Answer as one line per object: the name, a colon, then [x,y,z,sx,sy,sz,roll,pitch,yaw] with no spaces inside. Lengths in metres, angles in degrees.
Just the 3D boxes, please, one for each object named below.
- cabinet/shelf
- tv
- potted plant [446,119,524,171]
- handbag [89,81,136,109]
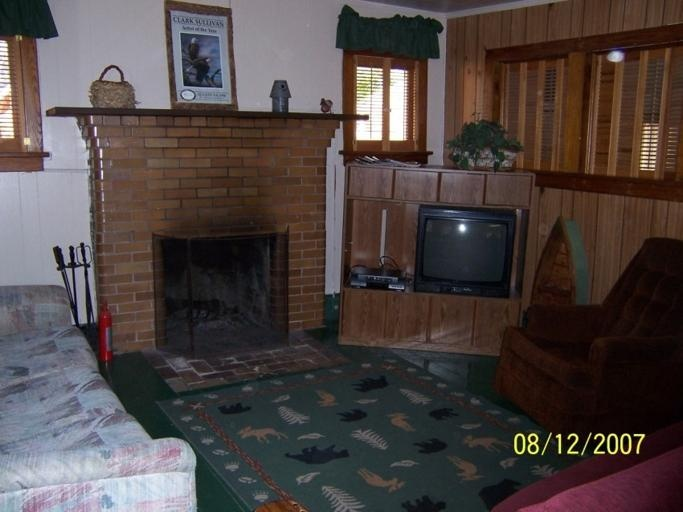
cabinet/shelf: [0.778,0.038,4.095,1.598,1.489,0.516,3,10,1]
tv: [0.966,-0.014,4.219,0.843,0.703,0.455,4,2,-5]
potted plant: [1.233,-0.912,4.221,0.716,0.379,0.649,-2,9,-9]
handbag: [-1.699,-1.185,3.701,0.297,0.203,0.067,-3,12,-22]
